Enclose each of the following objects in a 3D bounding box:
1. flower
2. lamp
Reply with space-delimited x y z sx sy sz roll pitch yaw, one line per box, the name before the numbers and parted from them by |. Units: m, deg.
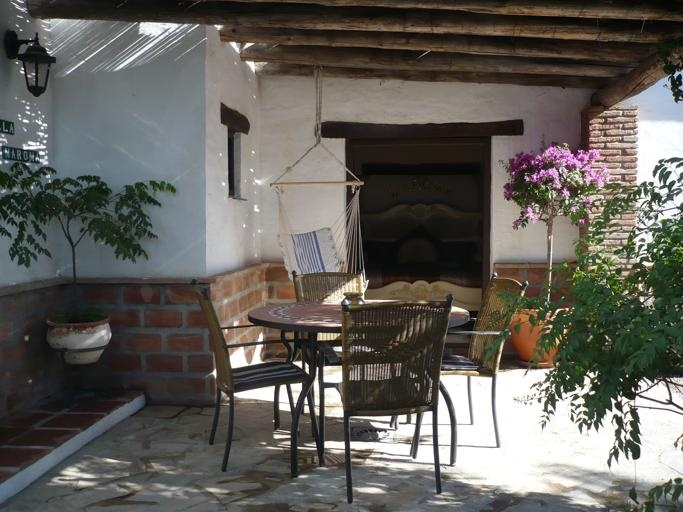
flower | 2.011 -0.403 6.365 0.969 1.273 0.869 2 11 13
lamp | -2.262 -1.372 4.866 0.328 0.448 0.362 1 11 6
